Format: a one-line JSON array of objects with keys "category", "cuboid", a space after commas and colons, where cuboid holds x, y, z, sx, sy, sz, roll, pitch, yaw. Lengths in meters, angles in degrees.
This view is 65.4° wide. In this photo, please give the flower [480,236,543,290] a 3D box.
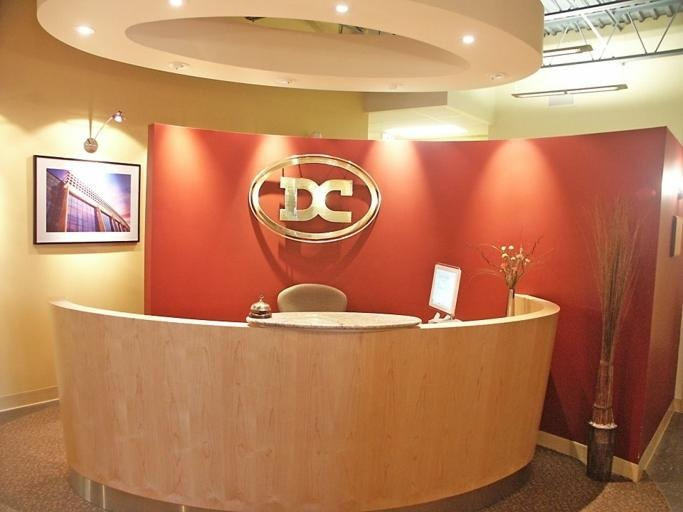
[{"category": "flower", "cuboid": [1.786, 0.047, 5.619, 0.474, 0.398, 0.479, -2, 2, -10]}]

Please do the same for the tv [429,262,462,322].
[{"category": "tv", "cuboid": [1.085, 0.366, 5.544, 0.222, 0.677, 0.594, 6, 0, -9]}]
